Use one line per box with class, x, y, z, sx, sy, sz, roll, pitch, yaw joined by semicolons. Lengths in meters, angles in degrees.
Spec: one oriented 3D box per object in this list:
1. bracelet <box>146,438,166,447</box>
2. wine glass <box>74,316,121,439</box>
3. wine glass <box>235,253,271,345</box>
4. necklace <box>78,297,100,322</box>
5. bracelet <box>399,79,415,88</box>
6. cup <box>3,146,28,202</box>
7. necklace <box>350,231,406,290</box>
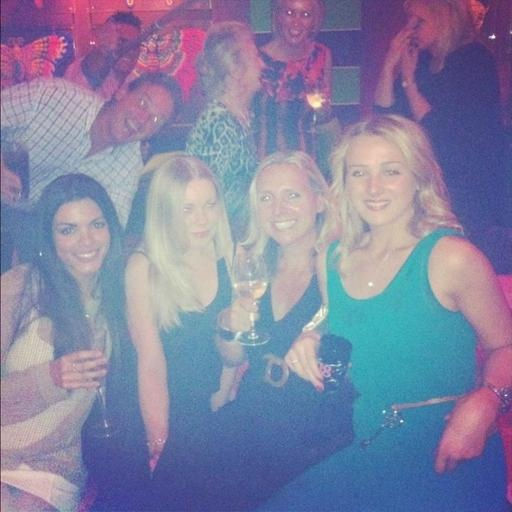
bracelet;-0.396;0.746;2.364;0.047;0.018;0.032;12;41;5
wine glass;-0.606;0.496;2.441;0.177;0.500;0.162;14;-11;-40
wine glass;-0.013;0.174;2.240;0.141;0.377;0.181;-6;8;0
necklace;-0.654;0.212;2.343;0.080;0.080;0.020;-2;12;10
bracelet;0.561;-0.644;2.185;0.035;0.009;0.027;15;52;15
cup;-0.932;-0.328;2.286;0.096;0.226;0.048;-3;9;19
necklace;0.474;0.019;2.256;0.206;0.214;0.064;36;15;23
